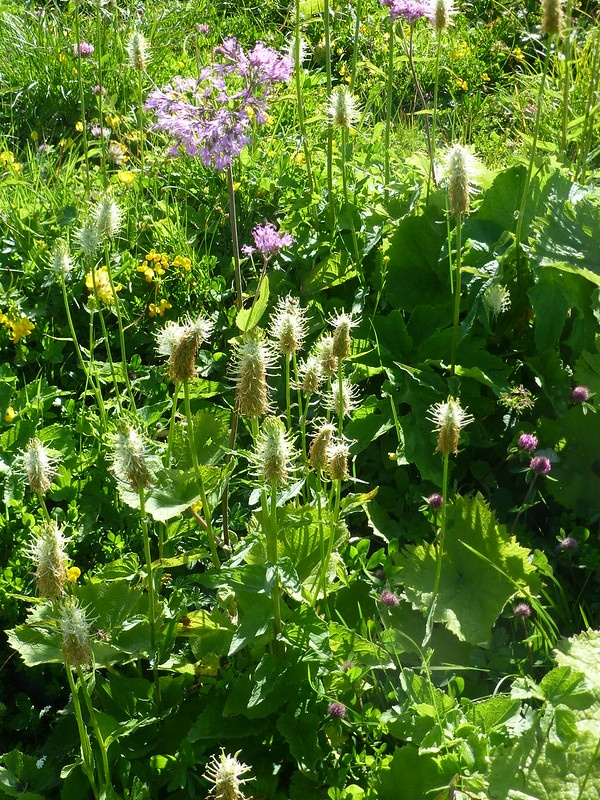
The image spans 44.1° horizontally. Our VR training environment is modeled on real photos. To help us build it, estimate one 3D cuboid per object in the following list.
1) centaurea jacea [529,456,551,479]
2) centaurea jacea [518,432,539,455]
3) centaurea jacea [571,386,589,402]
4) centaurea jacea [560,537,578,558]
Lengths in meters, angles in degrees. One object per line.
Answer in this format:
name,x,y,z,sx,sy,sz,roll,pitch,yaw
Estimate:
centaurea jacea,0.661,0.180,2.043,0.058,0.063,0.058,5,29,12
centaurea jacea,0.663,0.128,2.143,0.062,0.062,0.059,2,13,-16
centaurea jacea,0.835,-0.018,2.213,0.046,0.045,0.045,-1,11,-3
centaurea jacea,0.757,0.417,2.101,0.054,0.054,0.054,-1,28,5
